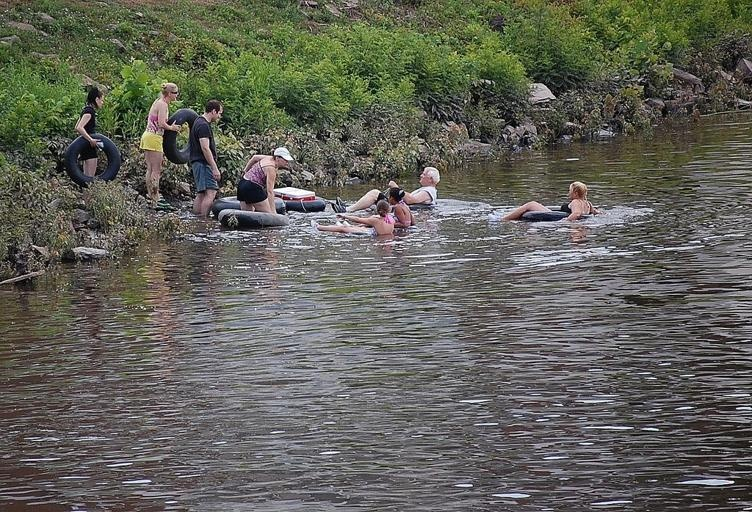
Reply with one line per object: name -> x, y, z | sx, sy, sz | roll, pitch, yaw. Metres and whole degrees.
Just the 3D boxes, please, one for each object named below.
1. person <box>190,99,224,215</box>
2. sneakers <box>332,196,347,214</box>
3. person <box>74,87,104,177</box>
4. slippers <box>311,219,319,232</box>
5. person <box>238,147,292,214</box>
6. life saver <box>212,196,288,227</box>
person -> -4.026, -2.225, 26.927 | 1.253, 2.426, 0.926 | 1, 2, 13
sneakers -> -0.877, -1.220, 27.083 | 0.221, 0.225, 0.581 | 1, 20, 7
person -> -6.817, -2.856, 27.475 | 1.021, 0.809, 2.585 | -14, -29, -24
slippers -> -1.370, -0.681, 25.799 | 0.118, 0.287, 0.130 | 10, -44, -45
person -> -2.599, -1.696, 26.558 | 1.167, 1.592, 1.505 | 1, 16, 6
life saver -> -2.922, -1.012, 26.659 | 1.721, 0.667, 1.864 | -4, 6, -6
